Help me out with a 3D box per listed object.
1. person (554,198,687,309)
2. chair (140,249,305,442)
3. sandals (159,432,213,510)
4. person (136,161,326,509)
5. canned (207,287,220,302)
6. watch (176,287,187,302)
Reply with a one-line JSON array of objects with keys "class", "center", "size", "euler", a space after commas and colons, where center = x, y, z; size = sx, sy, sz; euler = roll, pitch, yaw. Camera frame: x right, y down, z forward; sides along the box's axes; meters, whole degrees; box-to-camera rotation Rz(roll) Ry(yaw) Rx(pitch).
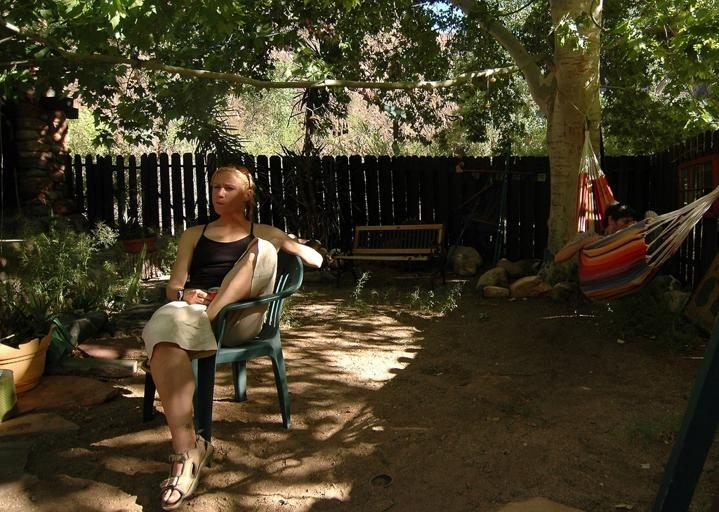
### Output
[{"class": "person", "center": [2.233, -0.018, 4.810], "size": [0.919, 0.808, 1.618], "euler": [0, 8, 20]}, {"class": "chair", "center": [-0.880, 0.556, 3.646], "size": [0.959, 1.085, 0.899], "euler": [-3, 8, -30]}, {"class": "sandals", "center": [-0.919, 1.181, 2.959], "size": [0.153, 0.155, 0.412], "euler": [-3, 13, 6]}, {"class": "person", "center": [-0.940, 0.356, 3.367], "size": [0.710, 1.815, 1.247], "euler": [3, 11, 37]}, {"class": "canned", "center": [-0.901, 0.228, 3.362], "size": [0.076, 0.073, 0.087], "euler": [0, -6, -4]}, {"class": "watch", "center": [-1.108, 0.241, 3.388], "size": [0.064, 0.075, 0.081], "euler": [8, 14, 28]}]
